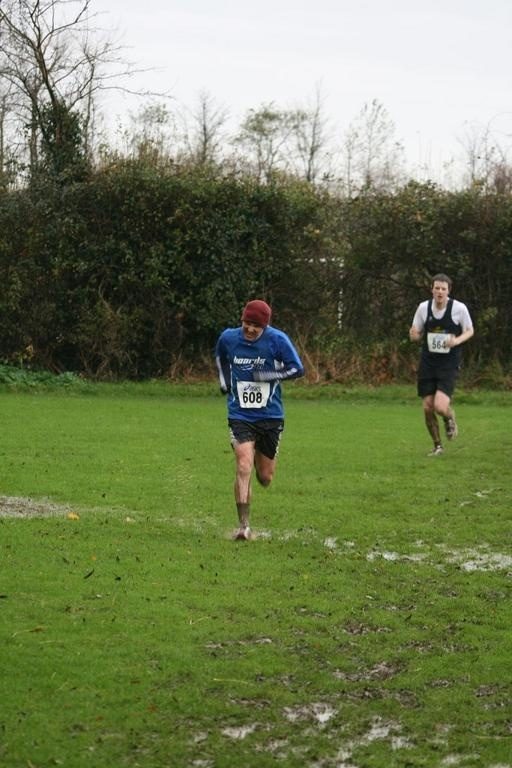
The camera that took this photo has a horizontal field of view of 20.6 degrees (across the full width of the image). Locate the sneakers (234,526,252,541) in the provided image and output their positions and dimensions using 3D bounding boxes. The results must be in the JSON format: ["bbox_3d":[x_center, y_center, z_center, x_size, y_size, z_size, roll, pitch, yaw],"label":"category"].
[{"bbox_3d":[-0.100,1.005,9.404,0.047,0.098,0.164,10,-12,5],"label":"sneakers"}]

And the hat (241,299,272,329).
[{"bbox_3d":[-0.004,-0.477,9.637,0.136,0.167,0.201,21,0,-1],"label":"hat"}]

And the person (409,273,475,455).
[{"bbox_3d":[1.742,-0.163,13.387,0.563,1.718,0.999,1,5,7],"label":"person"}]

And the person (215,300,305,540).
[{"bbox_3d":[0.016,0.290,9.762,0.559,1.341,0.792,0,5,-8],"label":"person"}]

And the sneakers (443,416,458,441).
[{"bbox_3d":[1.890,0.399,13.766,0.152,0.126,0.366,23,23,-5],"label":"sneakers"}]

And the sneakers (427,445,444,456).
[{"bbox_3d":[1.703,0.645,13.431,0.059,0.097,0.205,4,-10,16],"label":"sneakers"}]
